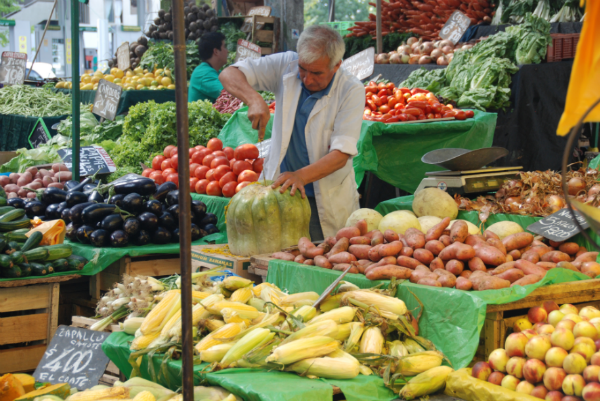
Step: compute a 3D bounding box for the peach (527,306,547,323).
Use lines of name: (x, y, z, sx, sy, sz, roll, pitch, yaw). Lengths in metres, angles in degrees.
peach: (1.451, 0.702, 3.357, 0.099, 0.105, 0.096, 3, 3, 3)

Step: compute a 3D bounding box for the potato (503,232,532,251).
potato: (1.533, 0.292, 3.870, 0.224, 0.093, 0.102, -19, 28, -18)

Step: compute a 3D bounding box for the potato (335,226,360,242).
potato: (0.342, 0.241, 3.996, 0.111, 0.054, 0.113, -20, 0, 31)

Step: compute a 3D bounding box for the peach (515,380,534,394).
peach: (1.265, 1.052, 3.097, 0.068, 0.076, 0.075, 16, -21, 27)

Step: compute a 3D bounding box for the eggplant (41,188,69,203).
eggplant: (-2.352, -0.037, 5.327, 0.140, 0.134, 0.314, -8, -3, 16)

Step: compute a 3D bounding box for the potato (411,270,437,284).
potato: (0.784, 0.474, 3.454, 0.064, 0.058, 0.129, -10, 10, -36)

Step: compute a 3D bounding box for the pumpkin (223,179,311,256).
pumpkin: (-0.259, 0.146, 4.317, 0.654, 0.552, 0.247, -2, 7, -9)

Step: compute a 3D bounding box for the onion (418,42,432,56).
onion: (2.147, -2.590, 9.367, 0.216, 0.164, 0.157, 2, -25, -32)

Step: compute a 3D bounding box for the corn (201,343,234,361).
corn: (-0.494, 0.873, 3.201, 0.229, 0.080, 0.085, -18, -19, -2)

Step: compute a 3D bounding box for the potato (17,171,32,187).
potato: (-3.357, -0.258, 6.711, 0.117, 0.113, 0.208, 26, 54, 8)

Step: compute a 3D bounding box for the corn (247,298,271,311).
corn: (-0.264, 0.672, 3.543, 0.118, 0.047, 0.066, 24, 34, 28)

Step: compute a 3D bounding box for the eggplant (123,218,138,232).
eggplant: (-1.441, 0.208, 4.677, 0.107, 0.135, 0.110, -4, -4, 42)

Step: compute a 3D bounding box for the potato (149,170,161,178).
potato: (-1.566, -0.293, 5.883, 0.099, 0.058, 0.099, -9, 7, -14)

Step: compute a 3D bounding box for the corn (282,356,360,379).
corn: (0.137, 0.911, 3.093, 0.389, 0.133, 0.131, 1, -1, 5)

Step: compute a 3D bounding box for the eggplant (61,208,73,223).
eggplant: (-2.104, 0.136, 4.930, 0.090, 0.093, 0.123, -34, -1, -8)

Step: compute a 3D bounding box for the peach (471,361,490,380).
peach: (1.053, 0.988, 3.196, 0.094, 0.097, 0.095, 2, 2, 7)

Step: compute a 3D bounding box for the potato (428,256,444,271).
potato: (0.894, 0.420, 3.601, 0.077, 0.080, 0.080, -7, 18, -19)

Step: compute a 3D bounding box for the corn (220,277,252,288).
corn: (-0.436, 0.556, 3.688, 0.148, 0.087, 0.066, 1, -8, -9)

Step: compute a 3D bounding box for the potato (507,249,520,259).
potato: (1.473, 0.376, 3.803, 0.069, 0.060, 0.163, 5, 9, 36)

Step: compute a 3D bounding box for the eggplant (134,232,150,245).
eggplant: (-1.362, 0.328, 4.719, 0.106, 0.135, 0.109, 7, -6, 1)

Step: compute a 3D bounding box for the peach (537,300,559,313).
peach: (1.538, 0.653, 3.393, 0.093, 0.075, 0.072, 3, 22, 15)

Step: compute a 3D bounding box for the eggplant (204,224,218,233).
eggplant: (-0.838, 0.256, 5.074, 0.093, 0.056, 0.078, 4, 4, 4)

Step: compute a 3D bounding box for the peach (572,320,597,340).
peach: (1.630, 0.743, 3.141, 0.105, 0.114, 0.107, 15, -3, -42)

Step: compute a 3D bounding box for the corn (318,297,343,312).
corn: (0.191, 0.646, 3.489, 0.145, 0.074, 0.056, -21, 15, -7)

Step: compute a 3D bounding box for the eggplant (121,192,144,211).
eggplant: (-1.464, 0.012, 4.789, 0.166, 0.132, 0.127, -5, 15, -21)

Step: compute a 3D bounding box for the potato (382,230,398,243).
potato: (0.629, 0.253, 3.845, 0.094, 0.054, 0.070, 30, 7, -45)

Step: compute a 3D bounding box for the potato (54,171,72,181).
potato: (-2.904, -0.288, 6.705, 0.164, 0.127, 0.223, 1, 0, 27)

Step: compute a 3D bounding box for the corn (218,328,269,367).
corn: (-0.311, 0.827, 3.186, 0.390, 0.130, 0.117, -31, -14, -6)

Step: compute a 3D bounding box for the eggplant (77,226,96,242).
eggplant: (-1.874, 0.287, 4.755, 0.137, 0.169, 0.137, 2, 9, 6)

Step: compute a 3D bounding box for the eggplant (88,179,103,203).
eggplant: (-1.886, -0.064, 5.054, 0.067, 0.076, 0.262, 19, 35, -18)

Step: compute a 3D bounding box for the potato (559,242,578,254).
potato: (1.945, 0.337, 3.952, 0.087, 0.046, 0.087, -3, 6, -41)

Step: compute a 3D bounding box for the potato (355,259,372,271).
potato: (0.430, 0.441, 3.731, 0.087, 0.049, 0.067, -22, 23, -13)

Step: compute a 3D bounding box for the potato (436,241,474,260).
potato: (1.032, 0.350, 3.619, 0.187, 0.095, 0.111, -6, -31, 21)

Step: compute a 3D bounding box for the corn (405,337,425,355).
corn: (0.665, 0.864, 3.251, 0.055, 0.031, 0.094, -6, 29, -19)

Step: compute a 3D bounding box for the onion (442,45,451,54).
onion: (2.425, -2.513, 9.138, 0.110, 0.149, 0.115, 3, 49, -21)

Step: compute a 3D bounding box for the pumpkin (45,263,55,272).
pumpkin: (-2.007, 0.539, 4.389, 0.061, 0.066, 0.064, 0, -20, -18)

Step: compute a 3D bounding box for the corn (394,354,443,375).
corn: (0.674, 0.928, 3.119, 0.233, 0.117, 0.092, -11, -21, -12)

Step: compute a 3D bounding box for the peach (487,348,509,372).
peach: (1.151, 0.922, 3.188, 0.100, 0.129, 0.110, 1, 1, 7)

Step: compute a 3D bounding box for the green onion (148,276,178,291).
green onion: (-0.939, 0.583, 3.884, 0.208, 0.083, 0.239, 0, 7, 7)

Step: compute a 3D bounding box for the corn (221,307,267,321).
corn: (-0.360, 0.712, 3.402, 0.265, 0.094, 0.088, -2, 7, -14)

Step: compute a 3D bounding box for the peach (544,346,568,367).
peach: (1.433, 0.879, 3.091, 0.100, 0.110, 0.111, 26, 47, 3)

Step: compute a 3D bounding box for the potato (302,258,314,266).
potato: (0.058, 0.438, 3.899, 0.049, 0.038, 0.066, 0, 2, 2)

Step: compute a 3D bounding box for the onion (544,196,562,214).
onion: (1.995, 0.035, 4.326, 0.149, 0.128, 0.164, 2, 8, 23)

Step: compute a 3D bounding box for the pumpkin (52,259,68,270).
pumpkin: (-1.949, 0.518, 4.449, 0.125, 0.063, 0.059, -8, 7, -4)

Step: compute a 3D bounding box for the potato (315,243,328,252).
potato: (0.157, 0.345, 4.011, 0.067, 0.040, 0.071, -2, 19, -6)

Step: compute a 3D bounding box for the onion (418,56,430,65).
onion: (2.048, -2.299, 9.066, 0.201, 0.150, 0.129, 1, 7, 10)

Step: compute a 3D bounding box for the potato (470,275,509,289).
potato: (1.154, 0.500, 3.353, 0.117, 0.046, 0.121, 7, 11, 40)
